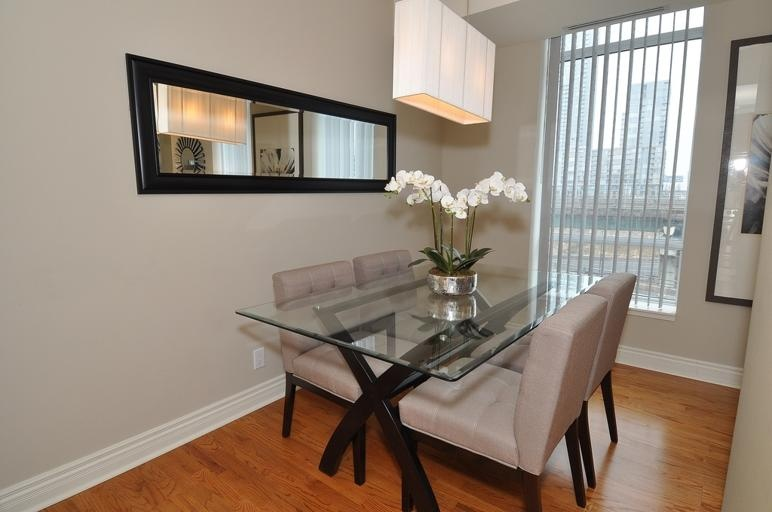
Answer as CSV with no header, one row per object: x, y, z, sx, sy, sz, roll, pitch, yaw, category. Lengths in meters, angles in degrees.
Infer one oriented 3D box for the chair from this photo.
0.355,0.629,3.188,1.841,1.239,1.435,8,15,40,chair

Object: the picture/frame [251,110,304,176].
-0.778,-0.804,3.571,0.435,0.601,0.056,-11,19,-42,picture/frame

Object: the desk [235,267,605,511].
0.329,0.806,2.942,1.658,1.226,1.026,3,11,27,desk

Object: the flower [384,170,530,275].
0.584,-0.266,4.093,0.909,0.694,0.471,4,8,22,flower
